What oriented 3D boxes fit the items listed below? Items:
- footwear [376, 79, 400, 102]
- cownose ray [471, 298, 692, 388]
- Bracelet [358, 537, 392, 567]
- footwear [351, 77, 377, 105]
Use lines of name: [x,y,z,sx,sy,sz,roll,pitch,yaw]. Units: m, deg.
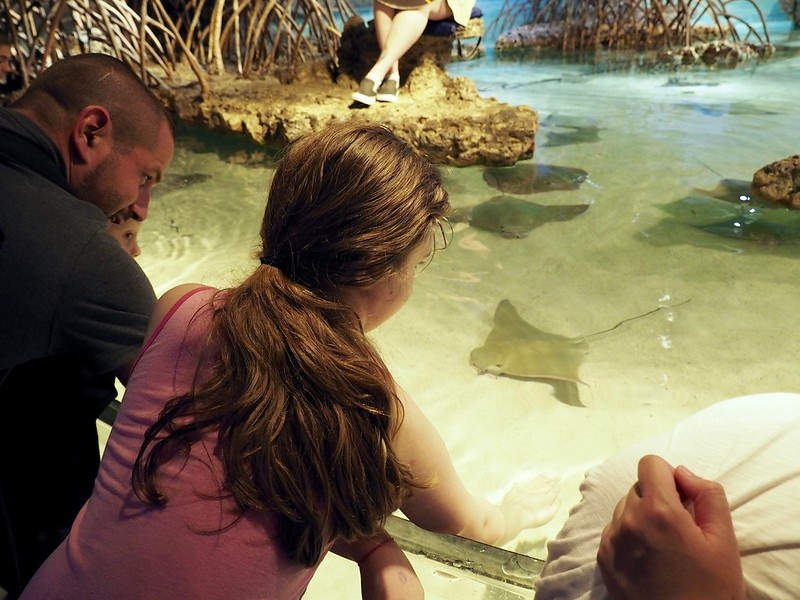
footwear: [-0.090,-1.468,4.569,0.136,0.147,0.143,4,24,11]
cownose ray: [0.642,0.188,2.729,0.609,0.067,0.441,-19,25,-17]
Bracelet: [-0.072,0.697,1.822,0.078,0.020,0.083,-34,-3,6]
footwear: [-0.244,-1.423,4.458,0.107,0.104,0.244,19,38,2]
